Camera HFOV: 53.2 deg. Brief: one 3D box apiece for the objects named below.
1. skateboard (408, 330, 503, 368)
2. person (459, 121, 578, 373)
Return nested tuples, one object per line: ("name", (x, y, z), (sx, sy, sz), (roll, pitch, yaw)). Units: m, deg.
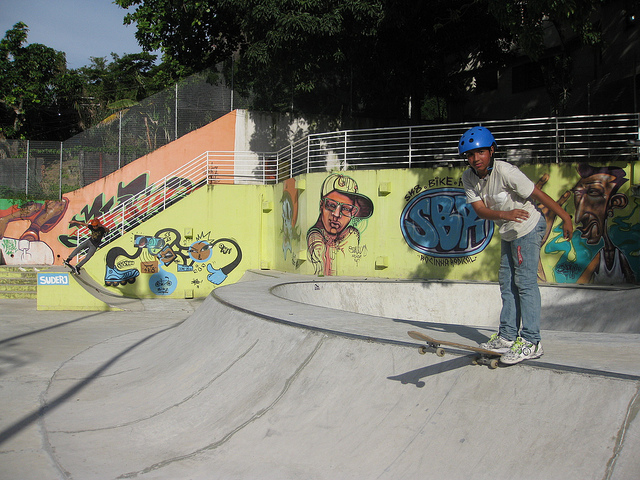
("skateboard", (1.765, 1.484, 8.427), (0.840, 0.184, 0.262), (14, -28, 14))
("person", (2.469, 0.012, 8.386), (1.175, 3.008, 1.134), (3, 14, 44))
